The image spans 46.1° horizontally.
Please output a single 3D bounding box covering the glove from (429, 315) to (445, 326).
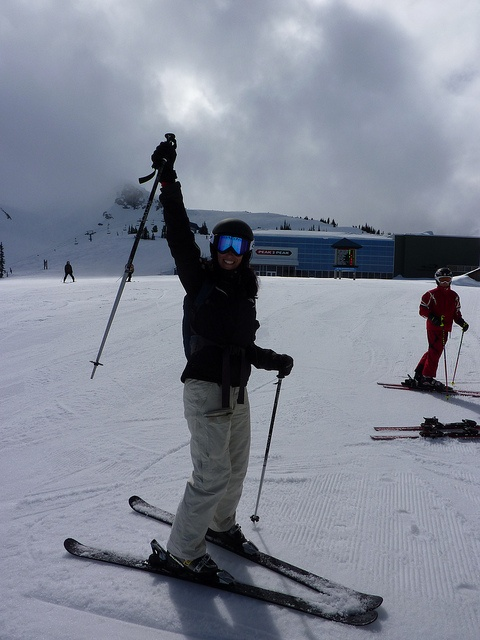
[{"bbox_3d":[2.695,0.016,7.708,0.204,0.151,0.165,3,8,13],"label":"glove"}]

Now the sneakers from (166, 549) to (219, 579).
[{"bbox_3d":[-0.250,1.375,3.228,0.315,0.134,0.124,10,-6,4],"label":"sneakers"}]

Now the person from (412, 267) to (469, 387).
[{"bbox_3d":[2.838,0.090,7.896,0.654,1.625,1.004,4,9,20],"label":"person"}]

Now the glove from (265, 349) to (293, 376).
[{"bbox_3d":[0.254,0.270,3.605,0.172,0.069,0.137,10,-35,-11],"label":"glove"}]

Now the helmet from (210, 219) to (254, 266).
[{"bbox_3d":[-0.041,-0.462,3.517,0.236,0.250,0.273,6,-8,-7],"label":"helmet"}]

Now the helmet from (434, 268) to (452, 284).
[{"bbox_3d":[2.859,-0.611,7.871,0.234,0.258,0.272,3,12,9],"label":"helmet"}]
